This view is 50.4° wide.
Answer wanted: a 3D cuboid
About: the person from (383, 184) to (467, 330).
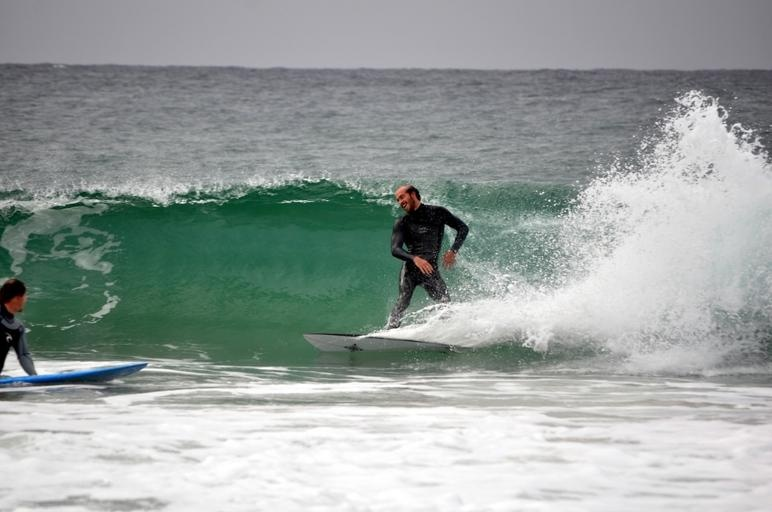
[{"bbox_3d":[0.515,0.016,11.114,1.065,1.924,0.654,-2,12,4],"label":"person"}]
